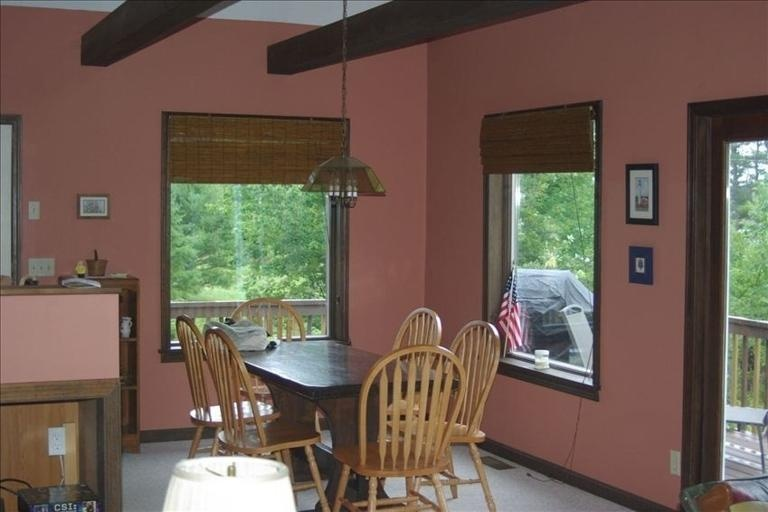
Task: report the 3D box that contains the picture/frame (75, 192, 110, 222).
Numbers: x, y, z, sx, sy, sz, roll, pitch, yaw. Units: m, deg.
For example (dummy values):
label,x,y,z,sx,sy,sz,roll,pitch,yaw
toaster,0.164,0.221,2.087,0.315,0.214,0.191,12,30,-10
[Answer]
label,x,y,z,sx,sy,sz,roll,pitch,yaw
picture/frame,-2.539,-0.428,5.629,0.273,0.228,0.026,1,0,-18

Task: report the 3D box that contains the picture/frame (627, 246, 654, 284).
label,x,y,z,sx,sy,sz,roll,pitch,yaw
picture/frame,1.766,0.062,4.458,0.023,0.329,0.253,2,-3,-30

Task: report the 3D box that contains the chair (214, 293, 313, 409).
label,x,y,z,sx,sy,sz,roll,pitch,yaw
chair,-0.984,0.775,5.762,0.795,1.272,0.856,0,-3,-23

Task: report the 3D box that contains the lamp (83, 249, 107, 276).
label,x,y,z,sx,sy,sz,roll,pitch,yaw
lamp,-2.433,0.060,5.563,0.206,0.240,0.221,2,-6,-28

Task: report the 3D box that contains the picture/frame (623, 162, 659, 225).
label,x,y,z,sx,sy,sz,roll,pitch,yaw
picture/frame,1.772,-0.415,4.456,0.018,0.395,0.278,-7,9,-28

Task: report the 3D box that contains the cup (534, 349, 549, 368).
label,x,y,z,sx,sy,sz,roll,pitch,yaw
cup,1.288,0.832,5.299,0.101,0.145,0.123,-2,1,-37
